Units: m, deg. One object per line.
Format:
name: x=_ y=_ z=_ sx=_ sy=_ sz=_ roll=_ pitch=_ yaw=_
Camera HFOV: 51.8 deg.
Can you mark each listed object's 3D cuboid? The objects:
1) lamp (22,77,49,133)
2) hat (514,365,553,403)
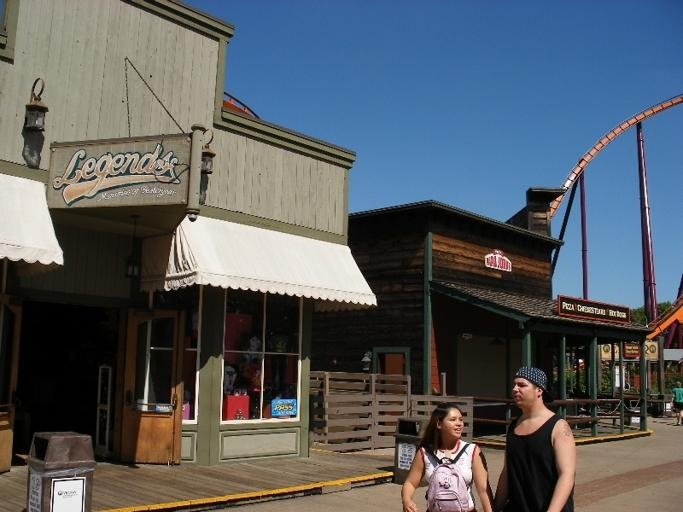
lamp: x=-5.315 y=-2.677 z=12.296 sx=0.378 sy=0.986 sz=0.524 roll=5 pitch=-4 yaw=-25
hat: x=2.037 y=1.298 z=7.321 sx=0.509 sy=0.402 sz=0.396 roll=5 pitch=-15 yaw=-11
